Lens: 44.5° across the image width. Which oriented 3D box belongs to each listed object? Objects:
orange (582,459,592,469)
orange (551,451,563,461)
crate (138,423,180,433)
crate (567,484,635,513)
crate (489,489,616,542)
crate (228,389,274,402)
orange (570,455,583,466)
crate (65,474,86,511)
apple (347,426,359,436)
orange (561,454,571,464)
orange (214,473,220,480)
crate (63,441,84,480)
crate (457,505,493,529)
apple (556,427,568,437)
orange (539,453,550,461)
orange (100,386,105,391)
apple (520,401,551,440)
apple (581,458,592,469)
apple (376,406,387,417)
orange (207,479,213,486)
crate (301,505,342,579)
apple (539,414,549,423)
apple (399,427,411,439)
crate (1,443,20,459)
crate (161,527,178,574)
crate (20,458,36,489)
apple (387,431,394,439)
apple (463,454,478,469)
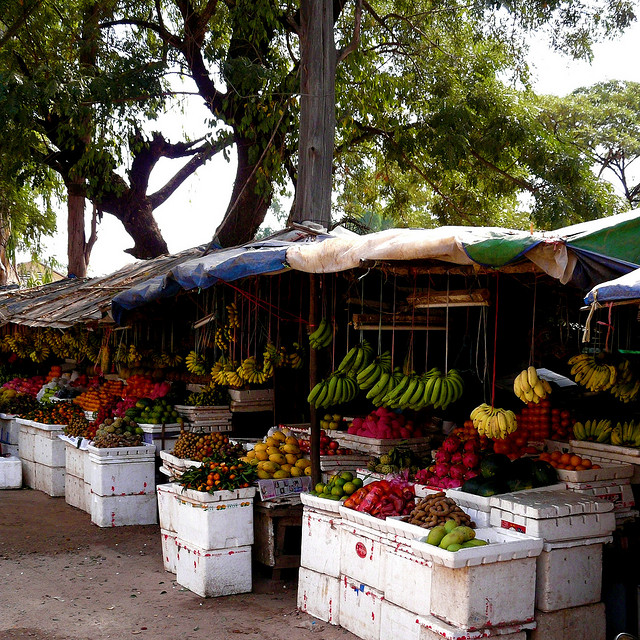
[{"bbox_3d":[2.165,1.156,6.355,0.052,0.086,0.062,0,2,5],"label":"orange"},{"bbox_3d":[1.987,1.130,6.563,0.069,0.072,0.070,-17,-44,9],"label":"orange"},{"bbox_3d":[-1.973,1.312,9.637,0.475,0.116,0.153,-6,3,1],"label":"crate"},{"bbox_3d":[2.367,1.397,6.302,0.279,0.153,0.322,2,-8,-15],"label":"crate"},{"bbox_3d":[1.675,1.359,5.847,0.724,0.322,0.797,1,-1,-27],"label":"crate"},{"bbox_3d":[-0.796,0.879,9.284,0.504,0.161,0.123,-5,3,5],"label":"crate"},{"bbox_3d":[2.082,1.124,6.388,0.063,0.092,0.078,1,-39,22],"label":"orange"},{"bbox_3d":[-3.242,2.253,10.387,0.274,0.458,0.572,3,-4,-29],"label":"crate"},{"bbox_3d":[0.326,1.086,7.757,0.061,0.085,0.071,1,7,4],"label":"apple"},{"bbox_3d":[2.017,1.131,6.423,0.052,0.081,0.059,8,-6,5],"label":"orange"},{"bbox_3d":[-0.911,1.374,6.926,0.036,0.044,0.038,-18,-29,34],"label":"orange"},{"bbox_3d":[-3.256,1.854,10.408,0.322,0.537,0.473,1,-4,-16],"label":"crate"},{"bbox_3d":[1.156,1.467,5.882,0.106,0.120,0.317,-6,2,-33],"label":"crate"},{"bbox_3d":[2.277,1.042,7.359,0.061,0.084,0.086,-8,-3,1],"label":"apple"},{"bbox_3d":[1.911,1.144,6.663,0.046,0.075,0.054,7,-2,1],"label":"orange"},{"bbox_3d":[-3.164,0.987,11.401,0.059,0.052,0.076,-4,-2,-28],"label":"orange"},{"bbox_3d":[2.069,0.947,7.511,0.290,0.329,0.343,-3,3,15],"label":"apple"},{"bbox_3d":[2.167,1.159,6.365,0.056,0.089,0.067,1,-11,-2],"label":"apple"},{"bbox_3d":[0.619,0.892,7.729,0.117,0.091,0.116,-5,3,-13],"label":"apple"},{"bbox_3d":[-0.963,1.413,6.880,0.034,0.056,0.041,0,-13,-2],"label":"orange"},{"bbox_3d":[0.034,1.852,6.650,0.378,0.547,0.534,5,-9,18],"label":"crate"},{"bbox_3d":[2.142,0.932,7.484,0.055,0.072,0.065,1,-4,2],"label":"apple"},{"bbox_3d":[0.829,1.077,7.566,0.121,0.095,0.113,-5,3,-4],"label":"apple"},{"bbox_3d":[-5.263,2.300,13.323,0.196,0.440,0.357,7,-15,-43],"label":"crate"},{"bbox_3d":[-1.516,2.285,7.675,0.223,0.332,0.266,-9,-16,-14],"label":"crate"},{"bbox_3d":[-4.451,2.333,11.974,0.255,0.455,0.563,3,2,-20],"label":"crate"},{"bbox_3d":[0.672,1.085,7.502,0.038,0.067,0.044,-18,-7,11],"label":"apple"},{"bbox_3d":[1.237,1.152,6.425,0.081,0.131,0.100,-3,-18,11],"label":"apple"}]
